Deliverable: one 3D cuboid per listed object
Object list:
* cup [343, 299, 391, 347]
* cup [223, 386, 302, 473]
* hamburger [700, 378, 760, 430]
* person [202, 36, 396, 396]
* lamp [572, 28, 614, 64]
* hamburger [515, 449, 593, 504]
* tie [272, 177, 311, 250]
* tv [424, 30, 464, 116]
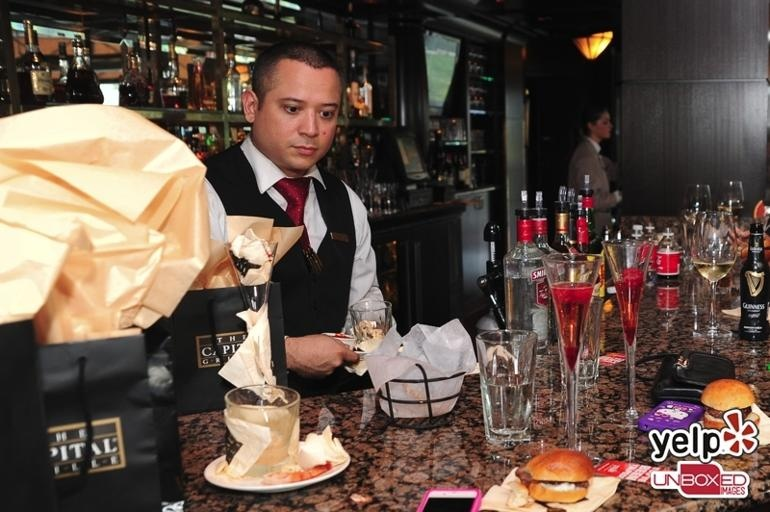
[{"bbox_3d":[-0.043,0.201,1.822,0.135,0.145,0.137,0,-6,0],"label":"cup"},{"bbox_3d":[-0.227,0.338,1.252,0.164,0.169,0.177,1,4,0],"label":"cup"},{"bbox_3d":[0.772,0.325,1.346,0.108,0.095,0.110,1,4,32],"label":"hamburger"},{"bbox_3d":[-0.304,-0.236,2.365,0.769,1.211,1.110,-6,13,-16],"label":"person"},{"bbox_3d":[3.358,-3.434,9.752,0.524,0.300,0.476,-4,6,-5],"label":"lamp"},{"bbox_3d":[0.331,0.422,1.147,0.105,0.059,0.103,1,-2,-10],"label":"hamburger"},{"bbox_3d":[-0.397,-0.242,2.551,0.159,0.464,0.123,-5,-19,-7],"label":"tie"},{"bbox_3d":[0.624,-2.036,6.624,0.062,0.788,1.214,4,6,27],"label":"tv"}]
